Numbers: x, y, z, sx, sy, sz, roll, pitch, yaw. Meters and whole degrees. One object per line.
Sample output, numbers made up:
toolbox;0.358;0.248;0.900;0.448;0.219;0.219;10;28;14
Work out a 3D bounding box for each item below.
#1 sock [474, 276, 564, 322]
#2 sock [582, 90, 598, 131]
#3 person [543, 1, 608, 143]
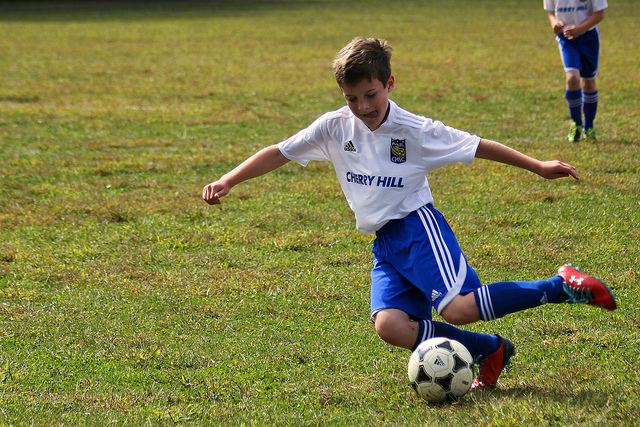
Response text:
sock;2.311;0.989;13.011;1.035;0.538;0.119;2;0;-1
sock;4.600;-1.780;19.058;0.233;0.707;0.192;2;0;9
person;4.337;-2.555;19.046;0.919;2.612;0.877;-1;16;5
